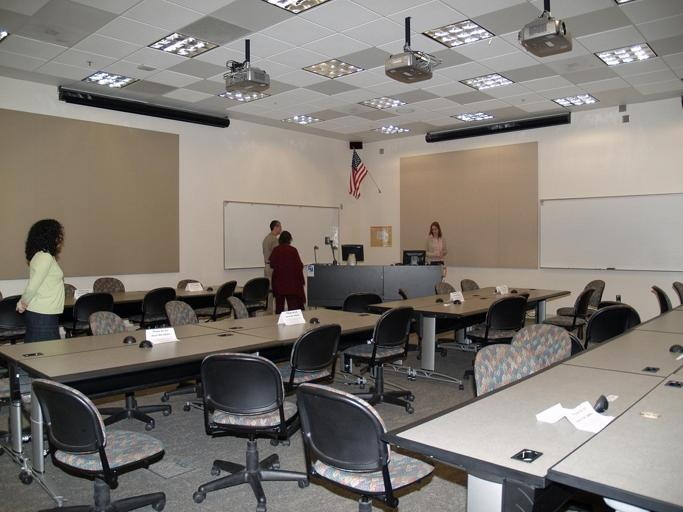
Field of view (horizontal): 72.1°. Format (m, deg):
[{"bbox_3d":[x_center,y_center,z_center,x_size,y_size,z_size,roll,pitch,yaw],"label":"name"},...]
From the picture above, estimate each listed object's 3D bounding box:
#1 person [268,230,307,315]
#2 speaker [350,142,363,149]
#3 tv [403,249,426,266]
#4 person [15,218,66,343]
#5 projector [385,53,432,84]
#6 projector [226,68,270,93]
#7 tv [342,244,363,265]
[{"bbox_3d":[-0.785,0.244,7.250,0.455,1.265,0.562,1,1,34],"label":"person"},{"bbox_3d":[0.372,-2.874,12.137,0.320,0.180,0.206,1,0,-3],"label":"speaker"},{"bbox_3d":[1.247,0.026,8.076,0.280,0.246,0.089,-1,-2,17],"label":"tv"},{"bbox_3d":[-2.797,0.210,4.382,0.444,1.201,0.375,2,5,-44],"label":"person"},{"bbox_3d":[0.728,-2.073,5.134,0.500,0.239,0.350,-5,6,-37],"label":"projector"},{"bbox_3d":[-1.116,-2.067,5.498,0.556,0.234,0.342,3,6,42],"label":"projector"},{"bbox_3d":[0.165,-0.044,8.646,0.406,0.337,0.414,1,5,25],"label":"tv"}]
